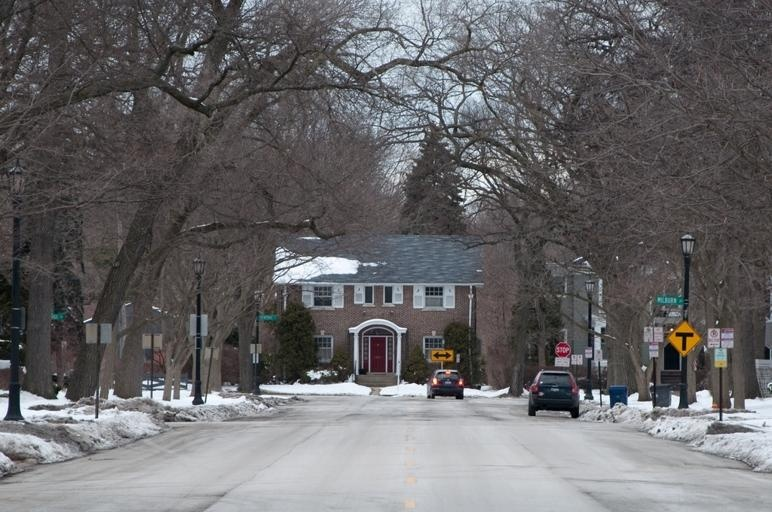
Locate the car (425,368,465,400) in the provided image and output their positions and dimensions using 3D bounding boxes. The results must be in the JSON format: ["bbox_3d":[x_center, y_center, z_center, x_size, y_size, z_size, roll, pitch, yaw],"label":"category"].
[{"bbox_3d":[3.484,7.437,69.004,1.880,1.898,1.924,0,-13,-4],"label":"car"}]

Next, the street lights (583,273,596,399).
[{"bbox_3d":[10.702,4.409,62.875,0.917,6.824,0.871,3,7,21],"label":"street lights"}]

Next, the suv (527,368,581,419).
[{"bbox_3d":[7.020,5.775,49.454,2.016,2.035,2.424,-3,-14,8],"label":"suv"}]

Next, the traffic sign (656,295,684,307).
[{"bbox_3d":[11.052,1.673,45.912,0.868,0.339,0.654,1,0,0],"label":"traffic sign"}]

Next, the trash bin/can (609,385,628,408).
[{"bbox_3d":[9.835,5.891,50.154,0.711,0.933,1.322,-3,-14,8],"label":"trash bin/can"}]
